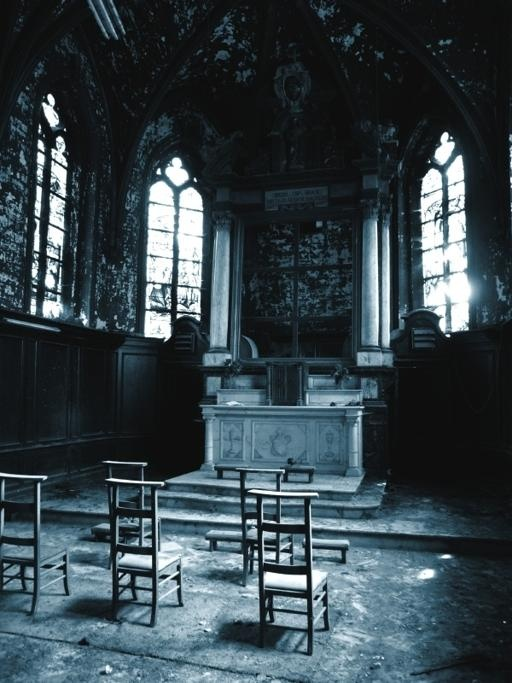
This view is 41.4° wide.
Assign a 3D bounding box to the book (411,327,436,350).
[{"bbox_3d":[2.750,-0.023,11.339,0.474,0.507,0.294,0,-2,5],"label":"book"}]
